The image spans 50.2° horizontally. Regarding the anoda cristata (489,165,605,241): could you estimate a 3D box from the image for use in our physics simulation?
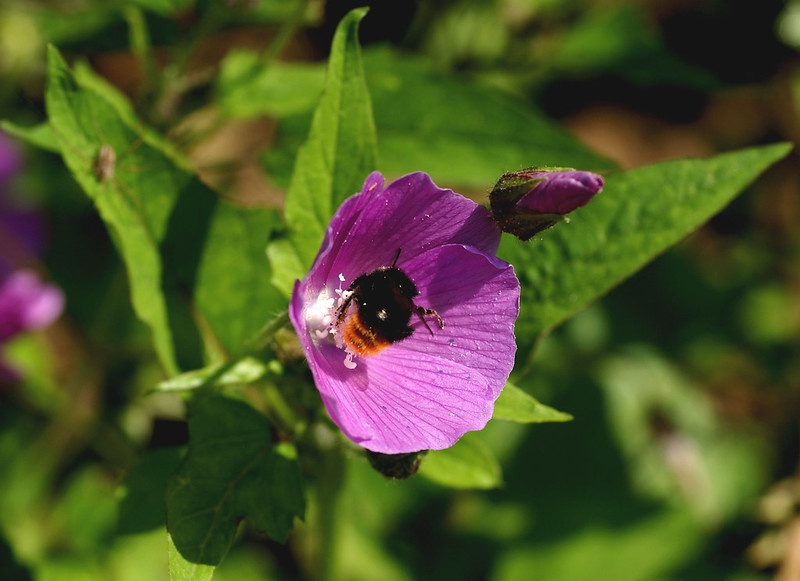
[{"bbox_3d":[0.565,-0.374,3.490,0.324,0.359,0.436,-7,25,-23],"label":"anoda cristata"}]

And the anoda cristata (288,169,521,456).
[{"bbox_3d":[0.054,0.099,3.537,0.889,1.095,0.448,-5,-12,-1],"label":"anoda cristata"}]

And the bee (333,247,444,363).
[{"bbox_3d":[-0.085,0.123,3.860,0.420,0.503,0.460,-7,28,-17],"label":"bee"}]
